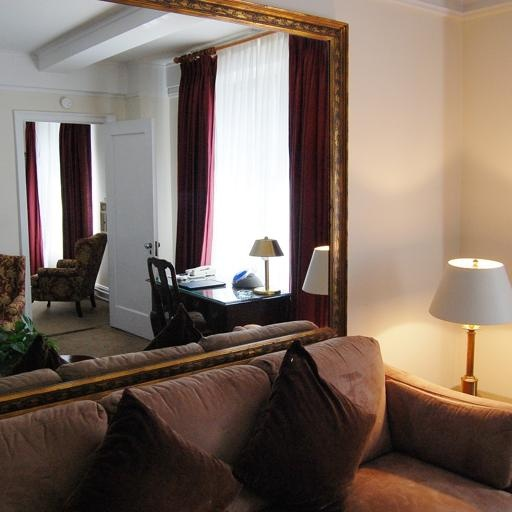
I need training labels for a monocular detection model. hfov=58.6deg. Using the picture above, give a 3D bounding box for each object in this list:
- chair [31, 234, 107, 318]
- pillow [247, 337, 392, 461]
[{"bbox_3d":[-0.527,0.049,1.449,0.224,0.276,0.216,3,4,4],"label":"chair"},{"bbox_3d":[0.214,0.476,1.504,0.165,0.324,0.474,-3,-2,45],"label":"pillow"}]
